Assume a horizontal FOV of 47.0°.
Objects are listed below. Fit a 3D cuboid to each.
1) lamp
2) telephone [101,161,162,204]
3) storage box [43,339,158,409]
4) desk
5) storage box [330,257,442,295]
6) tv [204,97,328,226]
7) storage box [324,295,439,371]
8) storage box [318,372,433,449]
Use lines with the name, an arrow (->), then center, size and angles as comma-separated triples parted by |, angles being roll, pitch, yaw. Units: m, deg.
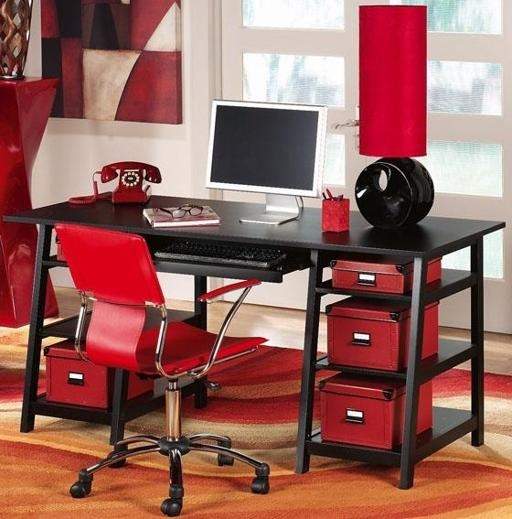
lamp -> 0.476, -0.483, 2.012 | 0.256, 0.754, 0.218 | 0, 6, 12
telephone -> -0.559, -0.348, 2.588 | 0.305, 0.163, 0.190 | 0, 19, 3
storage box -> -0.515, 0.458, 2.356 | 0.456, 0.241, 0.451 | 5, -9, -41
desk -> 0.010, 0.299, 2.084 | 1.172, 0.533, 0.479 | 4, 9, 26
storage box -> 0.395, 0.038, 1.804 | 0.176, 0.056, 0.174 | 4, 7, 32
tv -> 0.009, -0.364, 2.226 | 0.218, 0.443, 0.551 | 20, 19, 38
storage box -> 0.364, 0.229, 1.847 | 0.241, 0.193, 0.176 | 2, 6, 30
storage box -> 0.378, 0.442, 1.891 | 0.257, 0.155, 0.259 | 2, 4, 33
